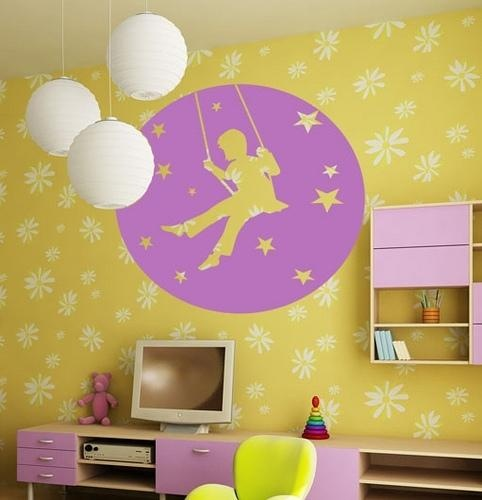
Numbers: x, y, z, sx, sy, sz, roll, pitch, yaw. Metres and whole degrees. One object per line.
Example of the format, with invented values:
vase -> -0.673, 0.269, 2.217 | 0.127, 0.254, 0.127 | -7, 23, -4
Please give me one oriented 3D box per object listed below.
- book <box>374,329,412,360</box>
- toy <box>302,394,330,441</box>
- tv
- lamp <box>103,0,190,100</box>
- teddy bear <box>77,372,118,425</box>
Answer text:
book -> 0.811, 0.522, 3.002 | 0.181, 0.155, 0.116 | -1, -8, 14
toy -> 0.408, 0.919, 3.077 | 0.183, 0.310, 0.199 | -1, -5, 5
tv -> -0.330, 0.824, 3.311 | 0.441, 0.471, 0.129 | -1, -11, 14
lamp -> -0.284, -0.597, 1.782 | 0.236, 0.329, 0.248 | -1, 1, -7
teddy bear -> -0.968, 0.978, 3.650 | 0.343, 0.327, 0.137 | -3, -8, 26
